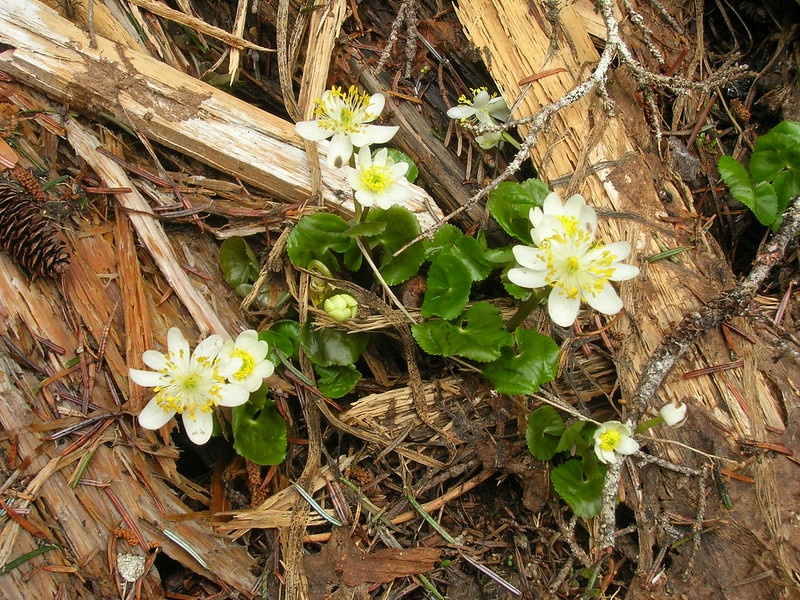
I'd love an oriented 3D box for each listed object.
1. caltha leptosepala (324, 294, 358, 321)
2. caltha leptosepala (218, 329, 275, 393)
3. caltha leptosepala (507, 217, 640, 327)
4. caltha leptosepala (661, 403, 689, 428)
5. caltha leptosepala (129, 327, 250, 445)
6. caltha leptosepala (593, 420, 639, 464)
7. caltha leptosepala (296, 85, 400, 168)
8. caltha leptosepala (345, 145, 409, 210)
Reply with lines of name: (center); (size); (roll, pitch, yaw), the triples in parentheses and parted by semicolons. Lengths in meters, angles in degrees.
caltha leptosepala: (-0.294, 0.039, 3.497); (0.150, 0.069, 0.121); (-1, 81, -19)
caltha leptosepala: (-0.747, 0.253, 3.302); (0.265, 0.119, 0.231); (16, 17, 37)
caltha leptosepala: (0.817, -0.203, 3.239); (0.514, 0.519, 0.132); (10, 79, 2)
caltha leptosepala: (1.313, 0.555, 3.353); (0.106, 0.050, 0.127); (46, 74, 0)
caltha leptosepala: (-0.968, 0.354, 3.247); (0.516, 0.156, 0.568); (17, 8, -18)
caltha leptosepala: (1.022, 0.676, 3.314); (0.216, 0.186, 0.106); (13, 2, -15)
caltha leptosepala: (-0.261, -0.869, 3.310); (0.481, 0.158, 0.538); (5, 21, 7)
caltha leptosepala: (-0.093, -0.561, 3.323); (0.301, 0.265, 0.270); (10, 45, 3)
